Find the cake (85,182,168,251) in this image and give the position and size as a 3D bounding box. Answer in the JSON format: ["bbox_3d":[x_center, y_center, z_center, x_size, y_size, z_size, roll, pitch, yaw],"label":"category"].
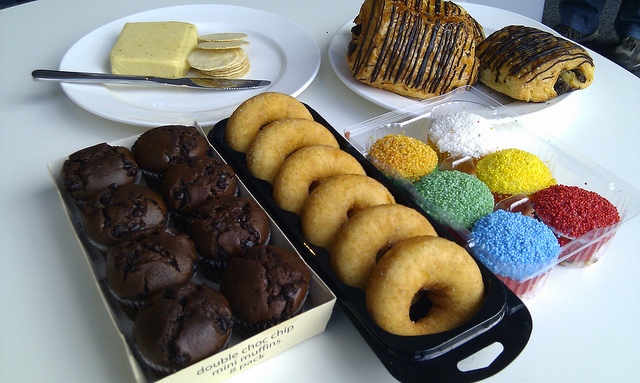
[{"bbox_3d":[-0.673,0.098,1.718,0.282,0.143,0.279,-5,51,-29],"label":"cake"}]

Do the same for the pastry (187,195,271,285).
[{"bbox_3d":[-0.301,0.127,1.643,0.270,0.205,0.277,-3,61,-7],"label":"pastry"}]

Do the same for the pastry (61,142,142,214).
[{"bbox_3d":[-0.788,-0.076,1.821,0.207,0.162,0.253,8,53,-4],"label":"pastry"}]

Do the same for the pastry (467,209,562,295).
[{"bbox_3d":[0.636,0.212,1.757,0.246,0.220,0.285,-37,63,-17],"label":"pastry"}]

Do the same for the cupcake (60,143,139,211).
[{"bbox_3d":[-0.781,-0.067,1.748,0.213,0.143,0.246,-21,58,-14],"label":"cupcake"}]

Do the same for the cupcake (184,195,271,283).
[{"bbox_3d":[-0.309,0.122,1.645,0.263,0.194,0.274,-8,63,-10],"label":"cupcake"}]

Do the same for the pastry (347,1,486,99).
[{"bbox_3d":[0.396,-0.580,2.128,0.470,0.173,0.385,8,83,-9],"label":"pastry"}]

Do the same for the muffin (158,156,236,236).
[{"bbox_3d":[-0.442,-0.009,1.821,0.297,0.174,0.317,-2,39,-2],"label":"muffin"}]

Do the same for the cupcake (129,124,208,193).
[{"bbox_3d":[-0.561,-0.157,1.811,0.217,0.145,0.274,-15,48,-4],"label":"cupcake"}]

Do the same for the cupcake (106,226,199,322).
[{"bbox_3d":[-0.566,0.276,1.674,0.281,0.246,0.339,2,38,-10],"label":"cupcake"}]

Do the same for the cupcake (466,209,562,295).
[{"bbox_3d":[0.634,0.214,1.759,0.249,0.216,0.280,-38,65,-17],"label":"cupcake"}]

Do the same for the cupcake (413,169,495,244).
[{"bbox_3d":[0.505,0.002,1.780,0.235,0.084,0.265,-40,46,-20],"label":"cupcake"}]

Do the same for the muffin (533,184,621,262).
[{"bbox_3d":[0.880,0.137,1.795,0.235,0.188,0.274,-21,51,-10],"label":"muffin"}]

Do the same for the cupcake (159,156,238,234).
[{"bbox_3d":[-0.449,0.010,1.857,0.259,0.236,0.261,-5,51,-12],"label":"cupcake"}]

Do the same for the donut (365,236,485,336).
[{"bbox_3d":[0.322,0.290,1.534,0.368,0.147,0.275,-14,65,-9],"label":"donut"}]

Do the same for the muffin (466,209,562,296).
[{"bbox_3d":[0.637,0.223,1.748,0.247,0.215,0.287,-35,63,-18],"label":"muffin"}]

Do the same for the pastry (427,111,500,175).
[{"bbox_3d":[0.552,-0.181,2.017,0.237,0.201,0.260,-20,51,-9],"label":"pastry"}]

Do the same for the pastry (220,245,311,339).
[{"bbox_3d":[-0.210,0.292,1.659,0.343,0.214,0.357,9,49,-9],"label":"pastry"}]

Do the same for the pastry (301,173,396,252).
[{"bbox_3d":[0.133,0.081,1.643,0.301,0.102,0.305,10,39,5],"label":"pastry"}]

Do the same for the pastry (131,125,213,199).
[{"bbox_3d":[-0.572,-0.110,1.902,0.288,0.161,0.237,-12,53,32],"label":"pastry"}]

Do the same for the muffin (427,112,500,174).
[{"bbox_3d":[0.562,-0.185,2.005,0.225,0.198,0.256,-9,51,-3],"label":"muffin"}]

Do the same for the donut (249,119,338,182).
[{"bbox_3d":[-0.135,-0.180,1.939,0.368,0.125,0.369,20,12,40],"label":"donut"}]

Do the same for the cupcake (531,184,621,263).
[{"bbox_3d":[0.853,0.092,1.768,0.242,0.184,0.272,-27,51,-15],"label":"cupcake"}]

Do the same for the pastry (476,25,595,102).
[{"bbox_3d":[0.878,-0.547,2.092,0.352,0.131,0.381,-39,55,-23],"label":"pastry"}]

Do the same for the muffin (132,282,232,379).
[{"bbox_3d":[-0.415,0.411,1.514,0.290,0.121,0.246,-28,68,-15],"label":"muffin"}]

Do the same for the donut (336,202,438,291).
[{"bbox_3d":[0.173,0.212,1.660,0.110,0.334,0.338,10,89,48],"label":"donut"}]

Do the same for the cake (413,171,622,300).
[{"bbox_3d":[0.711,0.090,1.806,0.503,0.172,0.560,-19,40,-14],"label":"cake"}]

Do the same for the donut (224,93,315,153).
[{"bbox_3d":[-0.218,-0.239,1.885,0.304,0.102,0.315,2,60,-8],"label":"donut"}]

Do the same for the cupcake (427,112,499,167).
[{"bbox_3d":[0.560,-0.231,1.966,0.211,0.174,0.232,-41,62,-18],"label":"cupcake"}]
